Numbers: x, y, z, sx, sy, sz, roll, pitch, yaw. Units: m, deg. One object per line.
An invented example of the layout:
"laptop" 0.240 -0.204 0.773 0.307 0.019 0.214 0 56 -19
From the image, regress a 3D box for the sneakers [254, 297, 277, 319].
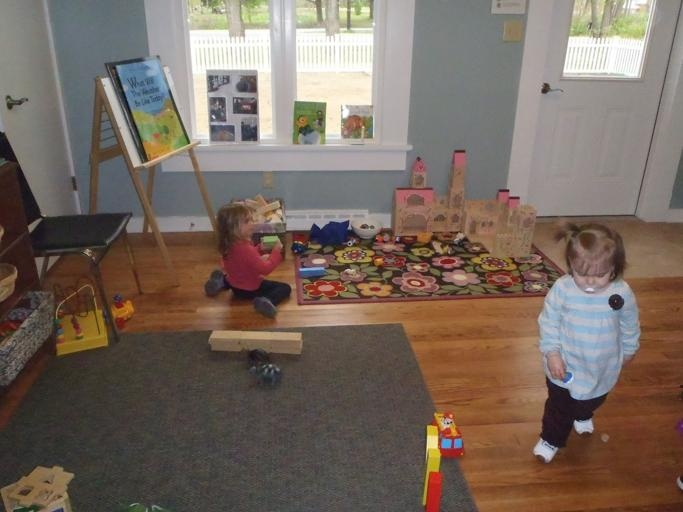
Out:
"sneakers" -0.442 0.285 2.889 0.129 0.101 0.142 -5 26 -7

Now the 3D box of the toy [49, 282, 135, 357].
"toy" -1.382 0.336 2.757 0.423 0.291 0.390 -8 46 -19

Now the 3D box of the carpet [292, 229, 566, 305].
"carpet" 0.558 0.030 3.704 1.356 0.025 1.909 -2 13 15

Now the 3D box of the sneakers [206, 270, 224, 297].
"sneakers" -0.776 0.163 3.116 0.104 0.055 0.167 31 66 7

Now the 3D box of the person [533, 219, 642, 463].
"person" 0.973 0.345 1.941 0.396 0.969 0.316 1 27 4

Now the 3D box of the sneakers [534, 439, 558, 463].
"sneakers" 0.834 0.789 2.030 0.055 0.053 0.131 20 22 23

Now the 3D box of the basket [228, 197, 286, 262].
"basket" -0.583 -0.217 3.577 0.358 0.287 0.475 0 32 -4
